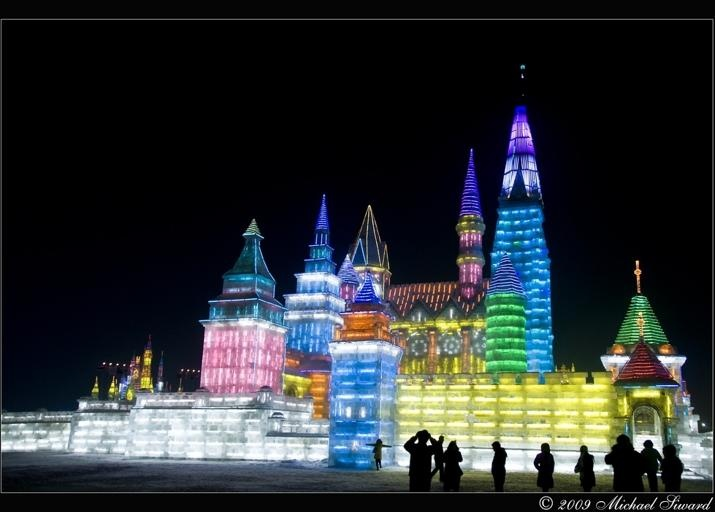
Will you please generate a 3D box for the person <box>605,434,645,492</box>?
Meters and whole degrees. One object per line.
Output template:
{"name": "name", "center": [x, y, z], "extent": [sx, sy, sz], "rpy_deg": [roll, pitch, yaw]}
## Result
{"name": "person", "center": [9.900, 7.672, 31.469], "extent": [1.210, 2.021, 0.641], "rpy_deg": [-4, -17, 15]}
